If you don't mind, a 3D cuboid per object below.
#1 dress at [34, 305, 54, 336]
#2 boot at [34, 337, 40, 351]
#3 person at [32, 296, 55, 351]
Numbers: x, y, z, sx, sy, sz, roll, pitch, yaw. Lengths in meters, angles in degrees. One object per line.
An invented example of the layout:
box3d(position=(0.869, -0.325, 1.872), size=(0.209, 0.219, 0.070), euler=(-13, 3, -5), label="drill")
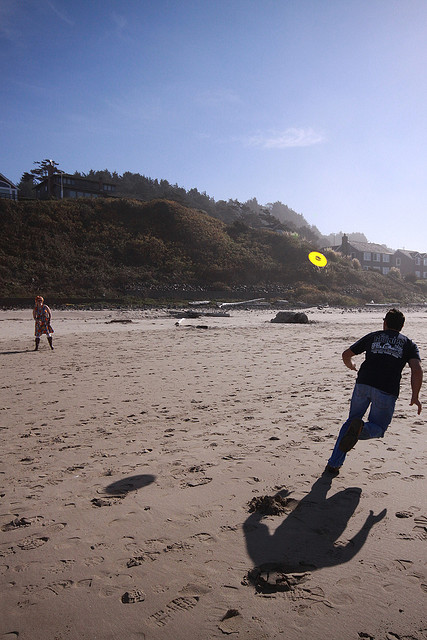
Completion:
box3d(position=(-3.908, 0.014, 13.313), size=(0.344, 0.679, 0.714), euler=(-4, 11, -16), label="dress")
box3d(position=(-3.996, 0.514, 13.091), size=(0.089, 0.297, 0.207), euler=(-5, 11, -17), label="boot")
box3d(position=(-4.108, 0.002, 13.915), size=(0.425, 1.225, 2.007), euler=(-4, 11, -16), label="person")
